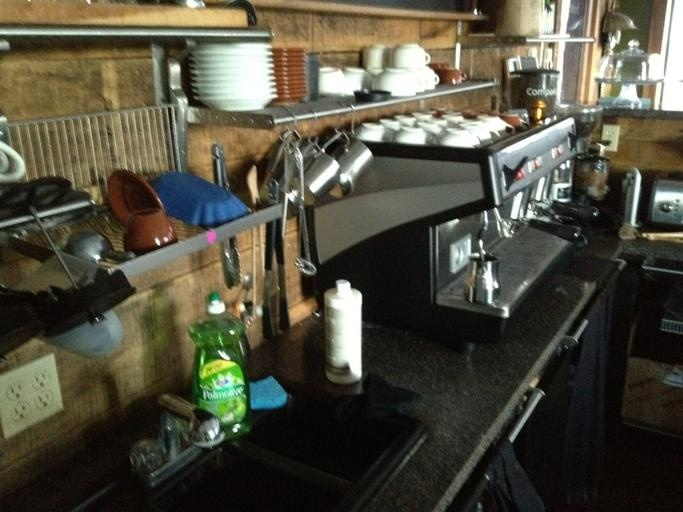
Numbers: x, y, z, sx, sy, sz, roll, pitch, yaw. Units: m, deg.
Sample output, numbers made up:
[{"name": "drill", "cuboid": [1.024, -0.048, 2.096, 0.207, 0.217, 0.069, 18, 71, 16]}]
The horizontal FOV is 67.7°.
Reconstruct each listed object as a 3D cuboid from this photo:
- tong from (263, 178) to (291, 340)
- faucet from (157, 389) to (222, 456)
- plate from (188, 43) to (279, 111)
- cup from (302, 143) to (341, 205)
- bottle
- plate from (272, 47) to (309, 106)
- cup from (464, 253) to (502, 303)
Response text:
[{"name": "tong", "cuboid": [-0.187, 0.000, 1.482, 0.051, 0.432, 0.082, 0, 3, 5]}, {"name": "faucet", "cuboid": [-0.317, 0.324, 1.050, 0.069, 0.059, 0.188, -7, 15, -38]}, {"name": "plate", "cuboid": [-0.249, -0.411, 1.170, 0.203, 0.144, 0.144, -7, 21, -13]}, {"name": "cup", "cuboid": [-0.025, -0.190, 1.317, 0.109, 0.122, 0.179, 4, 38, 12]}, {"name": "bottle", "cuboid": [0.005, 0.197, 1.294, 0.092, 0.278, 0.050, -5, 20, -5]}, {"name": "plate", "cuboid": [-0.131, -0.438, 1.246, 0.082, 0.141, 0.133, 13, 26, 29]}, {"name": "cup", "cuboid": [0.365, 0.061, 1.380, 0.077, 0.121, 0.133, 2, 15, 9]}]
